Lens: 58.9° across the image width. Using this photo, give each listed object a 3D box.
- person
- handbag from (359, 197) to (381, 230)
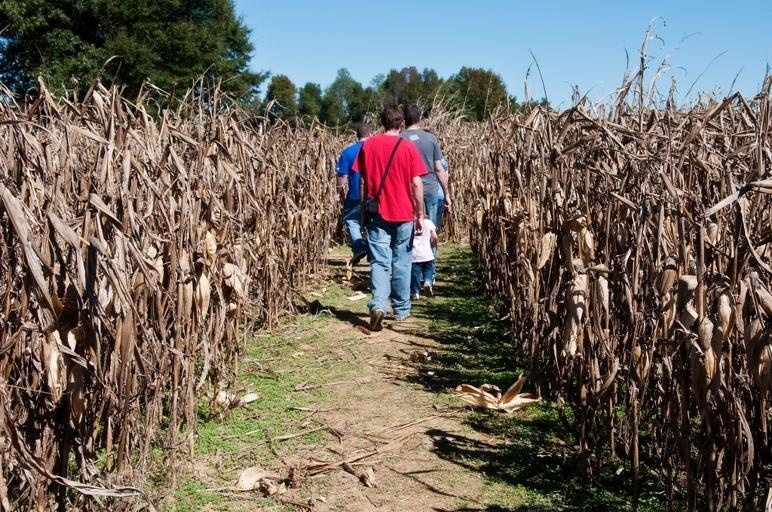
[{"bbox_3d":[0.053,-0.219,6.830,0.670,1.956,0.707,-1,13,-7],"label":"person"},{"bbox_3d":[-0.170,-0.439,6.818,0.092,0.254,0.199,-2,7,-33],"label":"handbag"}]
